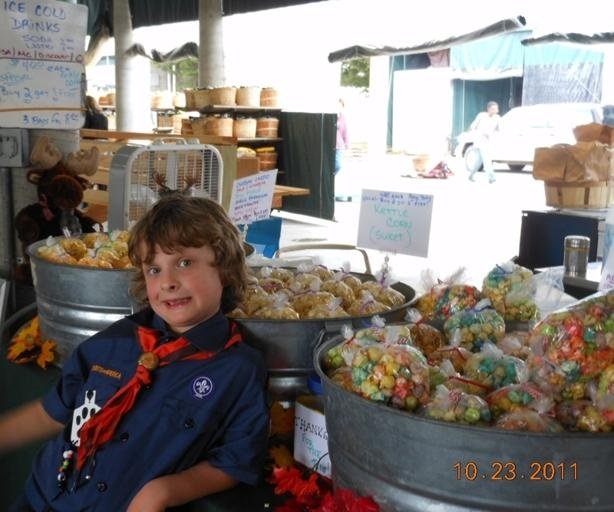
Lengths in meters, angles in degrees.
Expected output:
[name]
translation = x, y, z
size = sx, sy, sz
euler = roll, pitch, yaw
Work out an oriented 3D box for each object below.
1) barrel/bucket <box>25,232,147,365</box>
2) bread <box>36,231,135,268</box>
[barrel/bucket]
translation = -0.679, 0.117, 1.678
size = 0.390, 0.267, 0.350
euler = -6, 12, -26
[bread]
translation = -0.799, -0.014, 1.843
size = 0.231, 0.078, 0.219
euler = -1, 6, -11
